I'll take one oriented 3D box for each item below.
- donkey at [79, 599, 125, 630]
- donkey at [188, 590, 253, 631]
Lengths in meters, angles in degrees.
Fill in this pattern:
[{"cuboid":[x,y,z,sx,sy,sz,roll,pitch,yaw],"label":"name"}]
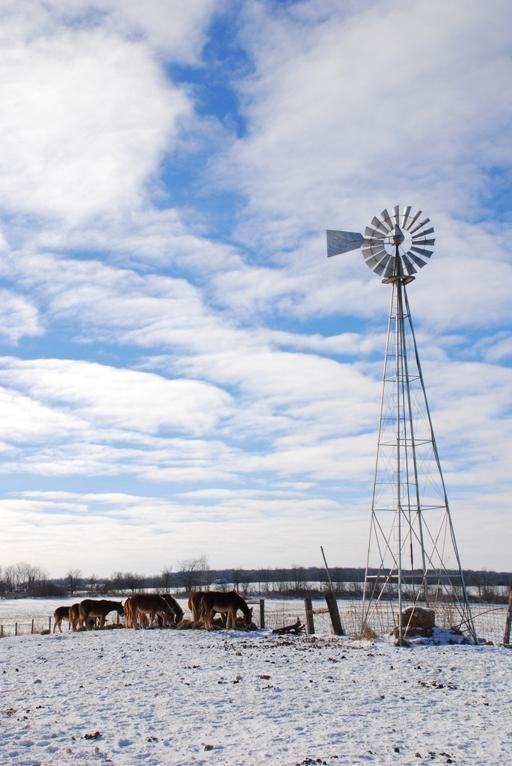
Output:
[{"cuboid":[-7.196,10.342,39.443,1.617,1.431,2.550,-2,-6,9],"label":"donkey"},{"cuboid":[-1.573,9.455,36.860,2.012,1.647,2.411,0,-6,-17],"label":"donkey"}]
